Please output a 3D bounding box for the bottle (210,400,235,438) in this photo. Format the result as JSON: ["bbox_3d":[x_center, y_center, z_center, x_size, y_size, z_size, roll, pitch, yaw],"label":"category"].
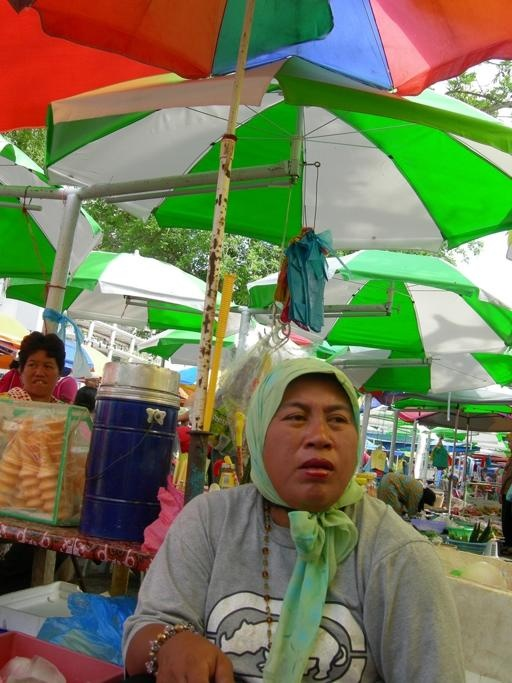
[{"bbox_3d":[-0.192,0.441,2.661,0.042,0.127,0.145,11,-7,18],"label":"bottle"}]

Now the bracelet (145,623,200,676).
[{"bbox_3d":[-0.175,0.577,0.919,0.046,0.097,0.084,32,0,-15],"label":"bracelet"}]
